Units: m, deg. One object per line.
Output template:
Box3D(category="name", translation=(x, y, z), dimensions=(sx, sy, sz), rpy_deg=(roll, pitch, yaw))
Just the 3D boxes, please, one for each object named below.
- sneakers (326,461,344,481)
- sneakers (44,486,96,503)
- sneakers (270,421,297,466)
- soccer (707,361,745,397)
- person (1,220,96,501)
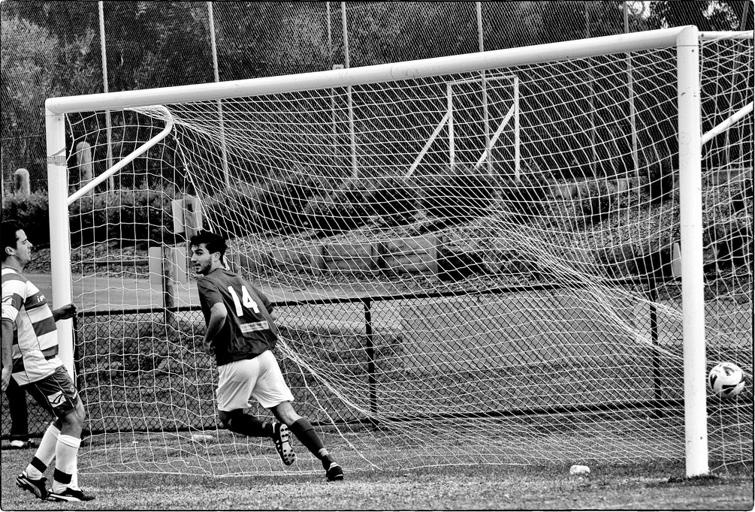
Box3D(category="sneakers", translation=(-0.543, 2.796, 12.974), dimensions=(0.213, 0.328, 0.257), rpy_deg=(-4, 9, -4))
Box3D(category="sneakers", translation=(-3.896, 3.014, 12.774), dimensions=(0.633, 0.263, 0.217), rpy_deg=(0, -1, -9))
Box3D(category="sneakers", translation=(-1.238, 2.427, 13.051), dimensions=(0.231, 0.654, 0.272), rpy_deg=(-19, 6, -20))
Box3D(category="soccer", translation=(4.489, 1.609, 12.841), dimensions=(0.428, 0.439, 0.427), rpy_deg=(35, -42, -25))
Box3D(category="person", translation=(-4.273, 1.358, 12.802), dimensions=(0.947, 3.606, 1.015), rpy_deg=(-5, 9, -13))
